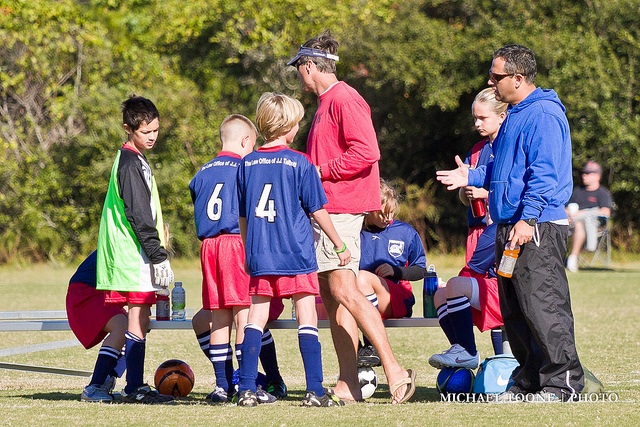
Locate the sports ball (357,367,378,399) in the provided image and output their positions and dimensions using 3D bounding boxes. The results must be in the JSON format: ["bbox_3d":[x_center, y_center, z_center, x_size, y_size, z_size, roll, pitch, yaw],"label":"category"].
[{"bbox_3d":[0.695,2.511,14.915,0.353,0.462,0.382,-1,0,0],"label":"sports ball"}]

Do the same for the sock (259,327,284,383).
[{"bbox_3d":[-0.727,2.113,15.204,0.471,0.763,0.360,0,2,-12],"label":"sock"}]

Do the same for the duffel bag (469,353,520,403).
[{"bbox_3d":[2.511,2.381,14.587,0.718,0.564,0.590,-3,-1,8],"label":"duffel bag"}]

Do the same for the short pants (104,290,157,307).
[{"bbox_3d":[-2.799,1.243,14.761,0.775,0.257,0.253,-3,-1,19],"label":"short pants"}]

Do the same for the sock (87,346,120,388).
[{"bbox_3d":[-3.119,2.207,14.653,0.246,0.528,0.720,27,3,-1],"label":"sock"}]

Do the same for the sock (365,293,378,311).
[{"bbox_3d":[0.774,1.312,15.043,0.166,0.197,0.175,-16,8,6],"label":"sock"}]

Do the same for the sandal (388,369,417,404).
[{"bbox_3d":[1.209,2.458,14.301,0.151,0.524,0.263,37,-9,-38],"label":"sandal"}]

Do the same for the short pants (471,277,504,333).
[{"bbox_3d":[2.472,1.347,14.928,0.461,0.668,0.378,-2,-1,11],"label":"short pants"}]

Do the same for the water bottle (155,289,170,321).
[{"bbox_3d":[-2.361,1.371,15.098,0.201,0.473,0.304,-2,-1,-10],"label":"water bottle"}]

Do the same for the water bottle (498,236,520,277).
[{"bbox_3d":[2.638,0.625,14.114,0.309,0.452,0.118,-3,-1,17],"label":"water bottle"}]

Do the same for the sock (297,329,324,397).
[{"bbox_3d":[-0.099,2.127,14.355,0.244,1.094,0.515,2,17,24],"label":"sock"}]
